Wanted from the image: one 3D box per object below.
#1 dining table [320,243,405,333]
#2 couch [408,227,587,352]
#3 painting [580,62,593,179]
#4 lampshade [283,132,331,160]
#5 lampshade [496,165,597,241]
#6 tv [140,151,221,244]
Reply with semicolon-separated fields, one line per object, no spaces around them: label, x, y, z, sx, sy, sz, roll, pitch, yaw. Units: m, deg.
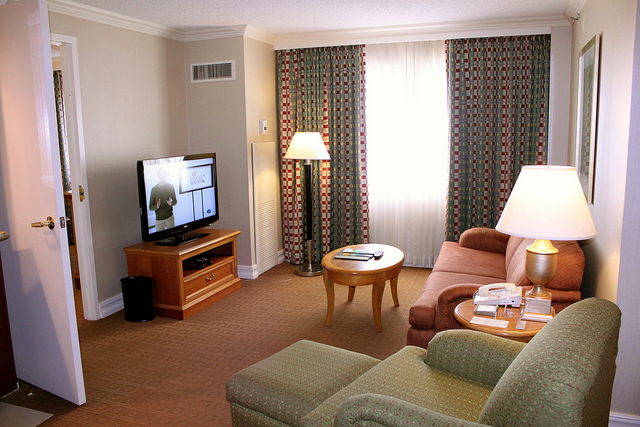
dining table;0.508;0.837;5.437;0.920;0.717;1.056;4;14;27
couch;1.933;0.697;5.298;1.411;1.172;2.973;5;8;22
painting;2.685;-0.903;4.709;0.043;1.229;1.082;2;13;24
lampshade;-0.172;-0.922;6.553;0.632;0.486;0.659;2;14;3
lampshade;1.626;-0.057;3.378;0.656;0.539;0.324;1;15;20
tv;-1.697;-0.199;5.680;0.343;0.975;1.406;5;11;22
